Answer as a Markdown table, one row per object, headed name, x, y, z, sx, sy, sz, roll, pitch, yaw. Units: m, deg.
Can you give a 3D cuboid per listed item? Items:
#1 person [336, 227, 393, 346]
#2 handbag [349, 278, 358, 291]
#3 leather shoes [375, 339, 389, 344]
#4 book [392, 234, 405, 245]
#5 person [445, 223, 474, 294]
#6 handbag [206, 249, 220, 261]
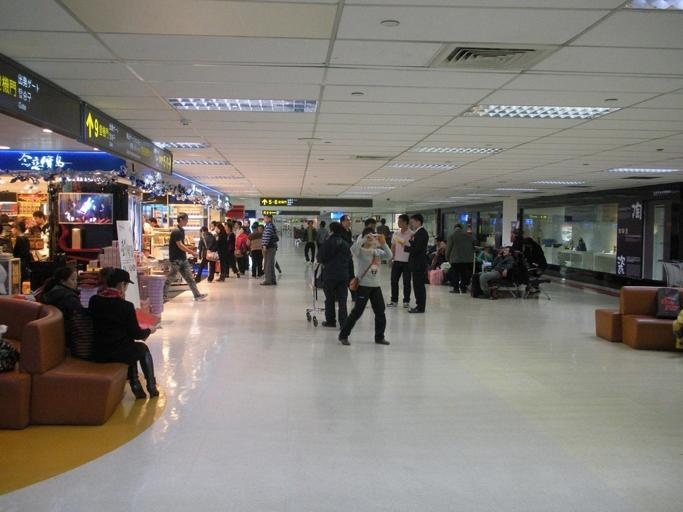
| name | x | y | z | sx | sy | sz | roll | pitch | yaw |
| --- | --- | --- | --- | --- | --- | --- | --- | --- | --- |
| person | 0.389 | 0.431 | 7.565 | 0.711 | 1.625 | 0.858 | 3 | 7 | 13 |
| handbag | 0.184 | 0.395 | 7.250 | 0.053 | 0.155 | 0.128 | 2 | 1 | -35 |
| leather shoes | 0.595 | 1.220 | 7.473 | 0.218 | 0.089 | 0.075 | -1 | -1 | 4 |
| book | 1.105 | -0.311 | 9.999 | 0.153 | 0.174 | 0.316 | -5 | 10 | -42 |
| person | 2.936 | 0.050 | 12.831 | 0.681 | 1.803 | 0.614 | 7 | -17 | -8 |
| handbag | -3.405 | 0.015 | 13.659 | 0.421 | 0.412 | 0.233 | 2 | -4 | -36 |
